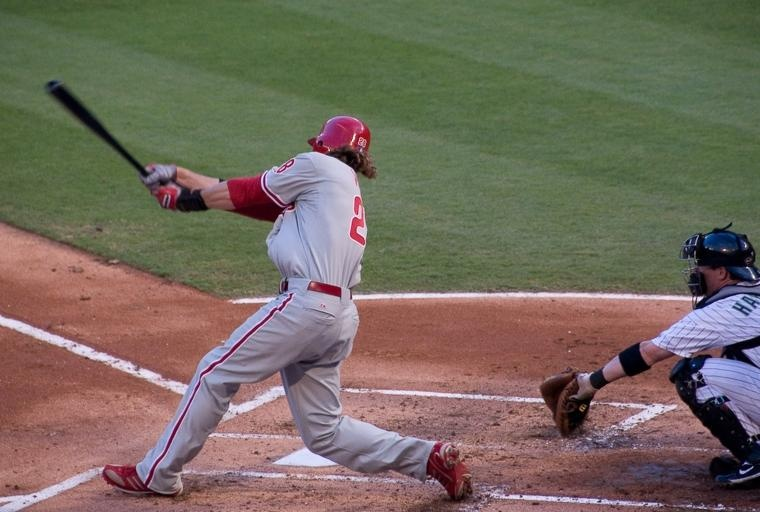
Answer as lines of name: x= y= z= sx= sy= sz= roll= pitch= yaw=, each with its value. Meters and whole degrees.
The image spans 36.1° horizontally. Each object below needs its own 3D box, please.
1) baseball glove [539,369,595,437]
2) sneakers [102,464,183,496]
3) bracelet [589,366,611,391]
baseball glove: x=1.740 y=1.365 z=10.969 sx=0.352 sy=0.644 sz=0.435 roll=5 pitch=28 yaw=43
sneakers: x=-2.163 y=1.986 z=10.324 sx=0.782 sy=0.242 sz=0.257 roll=14 pitch=3 yaw=-6
bracelet: x=2.014 y=1.141 z=10.758 sx=0.167 sy=0.164 sz=0.223 roll=34 pitch=-8 yaw=-5
